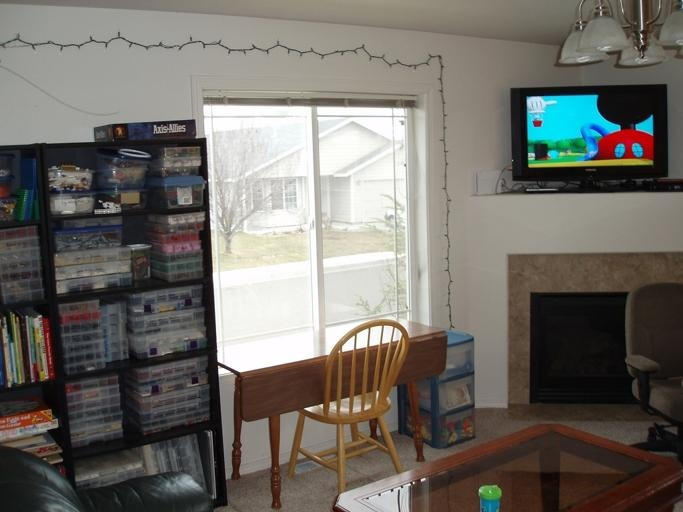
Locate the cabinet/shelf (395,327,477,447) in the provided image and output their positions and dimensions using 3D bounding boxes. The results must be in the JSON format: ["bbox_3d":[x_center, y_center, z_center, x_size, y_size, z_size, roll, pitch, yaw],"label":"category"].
[{"bbox_3d":[0.689,0.970,4.165,0.419,0.673,0.413,-2,-1,-36],"label":"cabinet/shelf"}]
